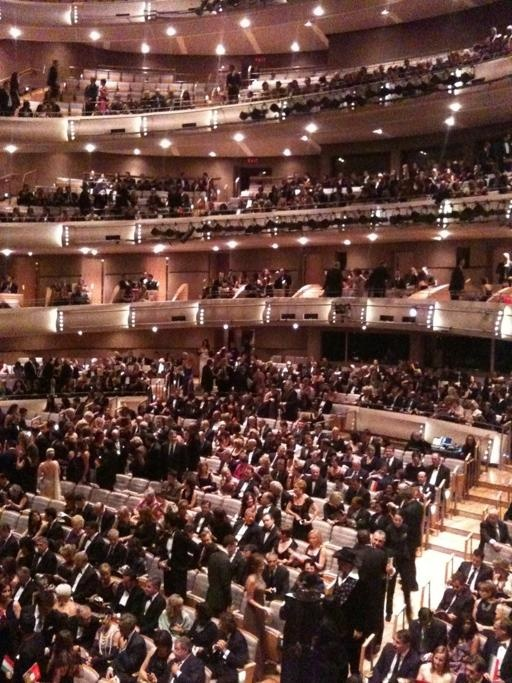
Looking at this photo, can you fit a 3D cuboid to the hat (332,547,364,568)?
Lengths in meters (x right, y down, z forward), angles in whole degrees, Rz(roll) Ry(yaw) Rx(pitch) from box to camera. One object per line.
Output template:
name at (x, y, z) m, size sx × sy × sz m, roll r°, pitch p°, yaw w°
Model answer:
hat at (0.818, 1.889, 4.954) m, size 0.184 × 0.072 × 0.166 m, roll 24°, pitch 0°, yaw 1°

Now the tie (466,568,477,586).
tie at (2.333, 2.545, 6.097) m, size 0.090 × 0.171 × 0.050 m, roll 19°, pitch -1°, yaw 25°
